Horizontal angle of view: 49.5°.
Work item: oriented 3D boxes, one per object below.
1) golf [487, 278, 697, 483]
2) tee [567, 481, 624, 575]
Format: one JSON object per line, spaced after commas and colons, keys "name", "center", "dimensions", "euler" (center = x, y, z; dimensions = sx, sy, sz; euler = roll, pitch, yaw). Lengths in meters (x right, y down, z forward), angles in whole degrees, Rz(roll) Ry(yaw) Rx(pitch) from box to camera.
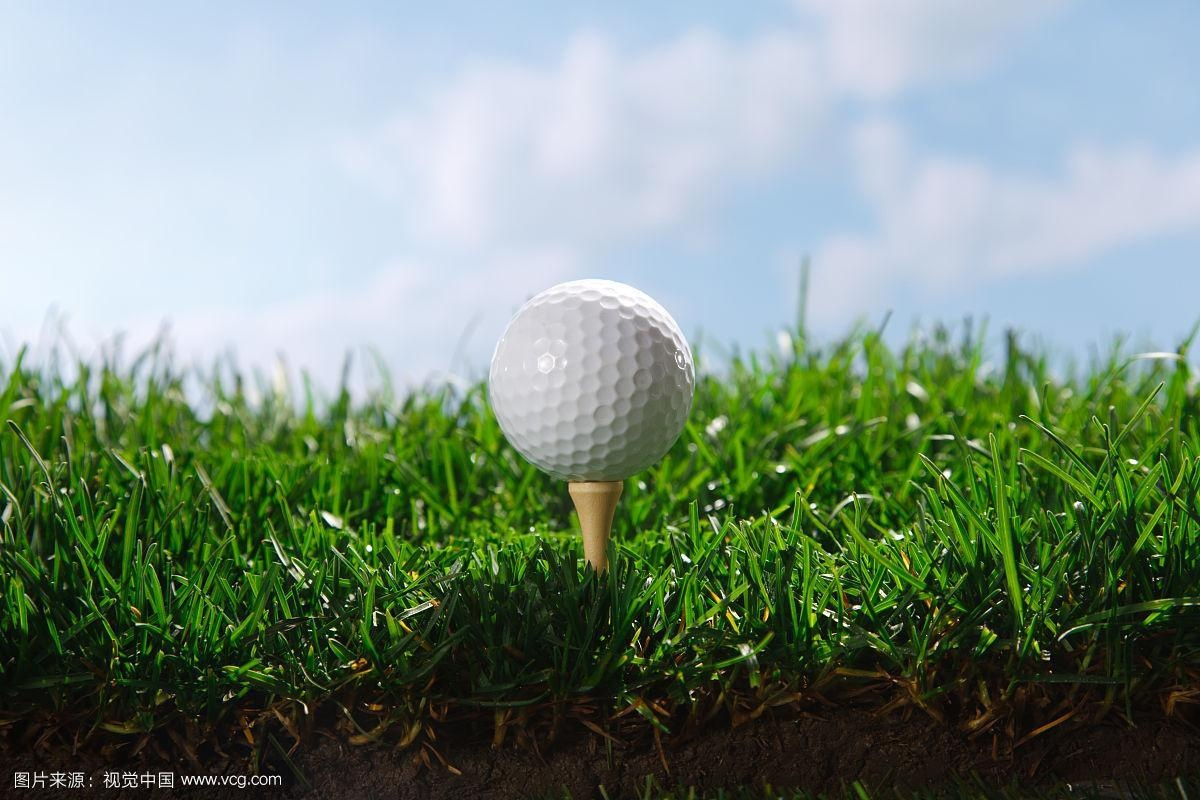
{"name": "golf", "center": [-0.021, -0.059, 2.798], "dimensions": [0.402, 0.467, 0.454], "euler": [-24, 0, -5]}
{"name": "tee", "center": [-0.005, 0.249, 2.641], "dimensions": [0.118, 0.215, 0.116], "euler": [-11, 16, -33]}
